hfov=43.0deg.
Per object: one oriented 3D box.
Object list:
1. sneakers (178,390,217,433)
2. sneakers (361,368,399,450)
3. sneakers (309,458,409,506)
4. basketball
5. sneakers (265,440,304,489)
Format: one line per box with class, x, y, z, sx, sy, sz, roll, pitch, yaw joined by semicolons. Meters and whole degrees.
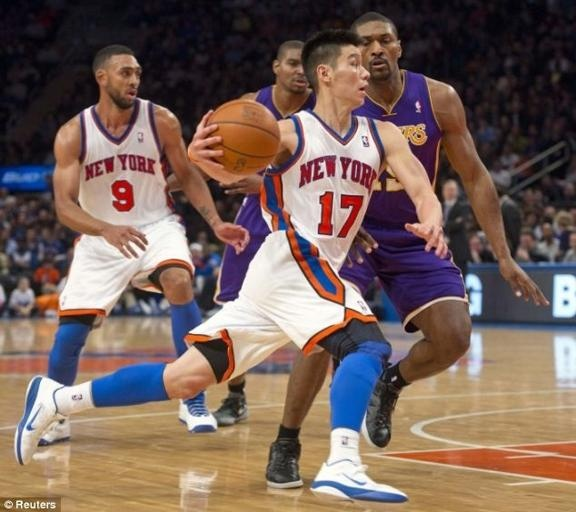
sneakers;-0.544;0.970;4.420;0.211;0.277;0.398;1;12;-10
sneakers;0.550;0.863;4.134;0.171;0.236;0.540;33;37;-21
sneakers;0.278;0.935;3.047;0.434;0.172;0.154;4;-13;10
basketball;-0.118;-0.500;3.176;0.269;0.311;0.285;-4;-11;15
sneakers;-0.013;0.954;3.331;0.168;0.161;0.224;3;12;-1
